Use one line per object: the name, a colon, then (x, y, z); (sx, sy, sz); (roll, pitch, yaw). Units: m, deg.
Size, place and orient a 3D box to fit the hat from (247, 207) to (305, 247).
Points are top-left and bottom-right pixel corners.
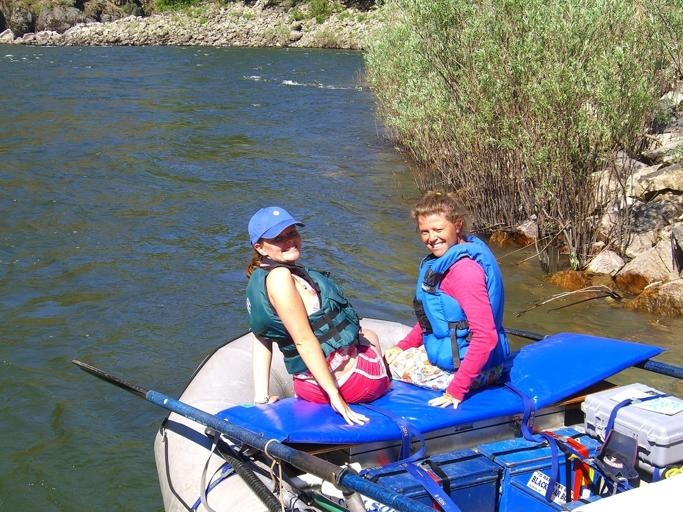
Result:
hat: (-0.543, -0.232, 6.692); (0.386, 0.180, 0.281); (-16, 2, 40)
